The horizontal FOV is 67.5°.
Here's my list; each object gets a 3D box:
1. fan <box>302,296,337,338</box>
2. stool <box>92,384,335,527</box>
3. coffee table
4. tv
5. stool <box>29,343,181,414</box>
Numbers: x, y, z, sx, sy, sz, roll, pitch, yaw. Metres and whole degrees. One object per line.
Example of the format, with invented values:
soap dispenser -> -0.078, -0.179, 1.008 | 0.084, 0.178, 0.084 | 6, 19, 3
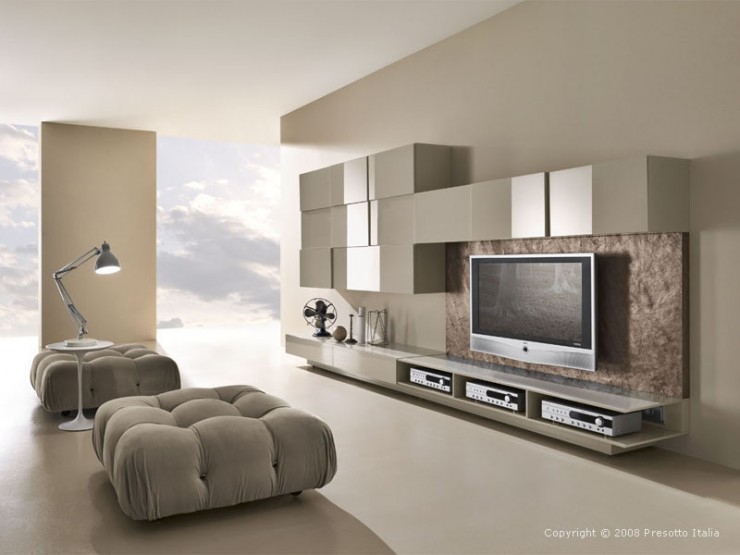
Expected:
fan -> -0.559, 0.432, 6.667 | 0.400, 0.521, 0.277 | 2, 24, 14
stool -> -0.794, 0.906, 2.889 | 0.767, 0.290, 0.768 | 4, -3, -31
coffee table -> -2.289, 0.839, 4.382 | 0.574, 0.707, 0.583 | -1, -2, 37
tv -> 1.260, 0.255, 4.460 | 1.171, 0.861, 0.105 | 5, -5, -19
stool -> -2.140, 0.868, 5.051 | 1.132, 0.454, 1.094 | -1, 0, -9
